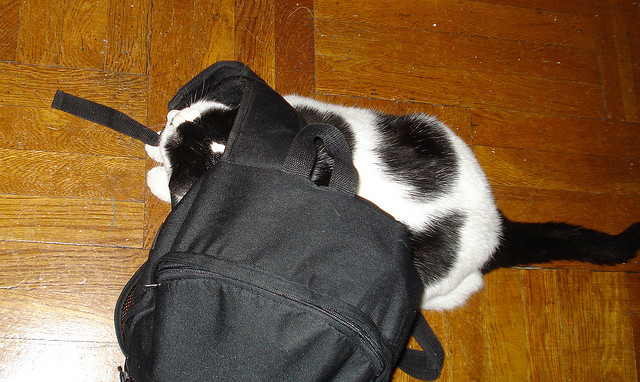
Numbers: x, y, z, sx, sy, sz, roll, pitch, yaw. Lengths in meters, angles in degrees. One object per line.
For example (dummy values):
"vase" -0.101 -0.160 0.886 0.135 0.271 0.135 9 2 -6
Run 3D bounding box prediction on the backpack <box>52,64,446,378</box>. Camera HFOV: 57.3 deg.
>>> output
"backpack" -0.171 0.116 1.756 0.906 0.302 0.874 -3 81 -5

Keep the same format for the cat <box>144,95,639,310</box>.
"cat" 0.325 0.104 2.154 1.875 0.695 0.541 13 63 -15
